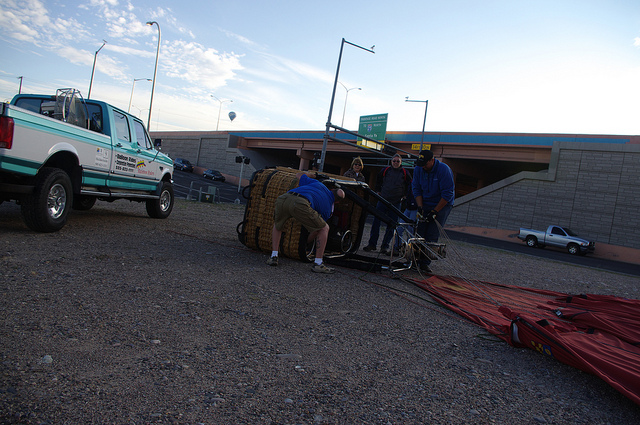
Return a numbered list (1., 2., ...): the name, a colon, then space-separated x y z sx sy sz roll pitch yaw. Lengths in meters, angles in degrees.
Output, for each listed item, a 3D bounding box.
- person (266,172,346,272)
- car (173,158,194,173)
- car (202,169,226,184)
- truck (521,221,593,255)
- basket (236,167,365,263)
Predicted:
1. person: -0.233 0.148 5.815 1.136 1.580 0.749 7 5 -8
2. car: -21.596 -7.375 53.330 2.432 1.735 1.557 5 6 -25
3. car: -15.183 -5.322 48.679 2.897 1.398 1.483 10 6 18
4. truck: 17.254 1.836 24.755 2.131 1.952 4.543 6 0 -40
5. basket: -0.395 -0.213 6.471 1.528 1.147 1.171 10 6 36
